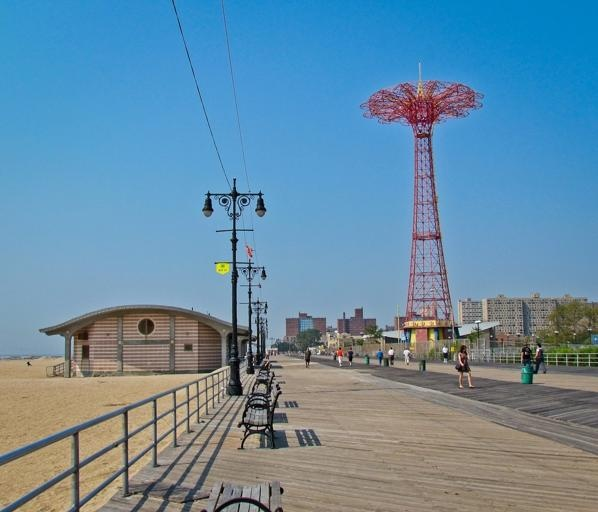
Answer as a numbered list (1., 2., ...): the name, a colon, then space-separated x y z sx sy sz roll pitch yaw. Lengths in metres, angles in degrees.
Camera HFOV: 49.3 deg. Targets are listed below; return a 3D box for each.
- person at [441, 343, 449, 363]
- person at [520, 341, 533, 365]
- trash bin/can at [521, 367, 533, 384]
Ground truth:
1. person: 13.418 8.888 59.268 0.475 1.648 3.014 -4 -10 13
2. person: 11.731 5.024 33.524 0.376 1.105 1.977 -5 -10 21
3. trash bin/can: 9.905 5.161 28.251 0.559 0.650 0.599 1 -9 -8
